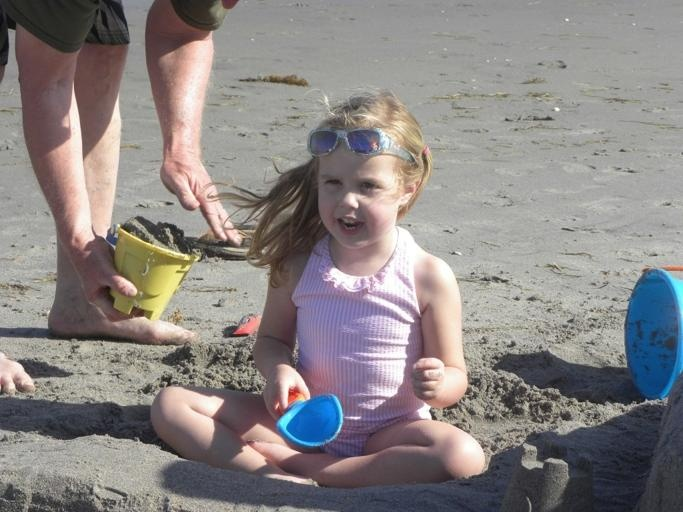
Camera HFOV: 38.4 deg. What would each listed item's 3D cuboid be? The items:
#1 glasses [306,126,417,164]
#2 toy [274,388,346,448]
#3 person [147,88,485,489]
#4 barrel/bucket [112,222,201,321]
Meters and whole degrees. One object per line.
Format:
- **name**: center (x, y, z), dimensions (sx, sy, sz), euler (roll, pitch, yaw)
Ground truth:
- **glasses**: center (0.101, -0.520, 4.523), dimensions (0.514, 0.158, 0.161), euler (6, 15, -1)
- **toy**: center (-0.135, 0.726, 4.300), dimensions (0.241, 0.214, 0.202), euler (14, 17, 22)
- **person**: center (0.003, 0.129, 4.559), dimensions (1.465, 1.752, 0.917), euler (10, 17, 7)
- **barrel/bucket**: center (-0.937, 0.090, 4.840), dimensions (0.478, 0.353, 0.452), euler (30, -1, 0)
